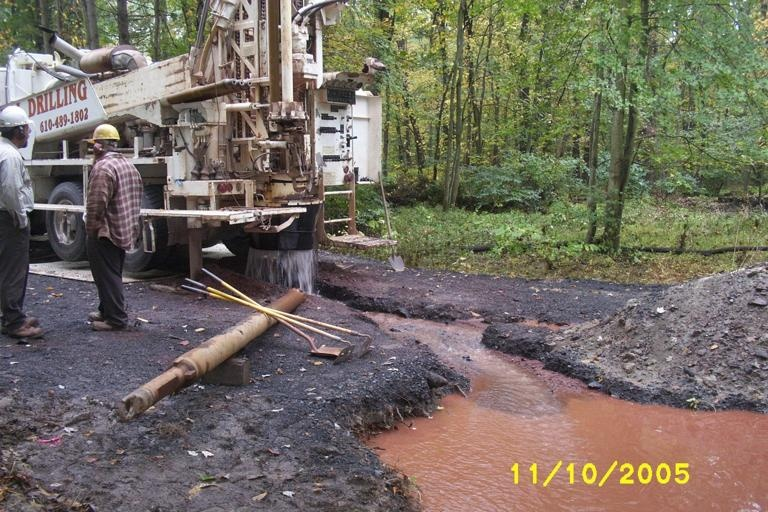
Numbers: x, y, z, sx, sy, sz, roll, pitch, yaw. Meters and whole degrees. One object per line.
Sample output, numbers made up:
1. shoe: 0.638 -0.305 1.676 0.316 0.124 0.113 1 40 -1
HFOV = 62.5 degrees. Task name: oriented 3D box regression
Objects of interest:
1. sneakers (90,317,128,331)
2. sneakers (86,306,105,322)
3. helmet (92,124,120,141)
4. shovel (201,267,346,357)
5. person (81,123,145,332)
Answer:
1. sneakers: -4.103 1.035 9.443 0.510 0.186 0.192 2 4 -10
2. sneakers: -4.420 0.903 9.659 0.194 0.177 0.437 7 -4 -27
3. helmet: -4.200 -1.828 9.434 0.388 0.250 0.481 -6 15 -45
4. shovel: -1.423 0.968 9.225 2.917 0.384 0.924 23 13 4
5. person: -4.005 -0.393 9.294 0.743 2.969 0.586 1 11 0
